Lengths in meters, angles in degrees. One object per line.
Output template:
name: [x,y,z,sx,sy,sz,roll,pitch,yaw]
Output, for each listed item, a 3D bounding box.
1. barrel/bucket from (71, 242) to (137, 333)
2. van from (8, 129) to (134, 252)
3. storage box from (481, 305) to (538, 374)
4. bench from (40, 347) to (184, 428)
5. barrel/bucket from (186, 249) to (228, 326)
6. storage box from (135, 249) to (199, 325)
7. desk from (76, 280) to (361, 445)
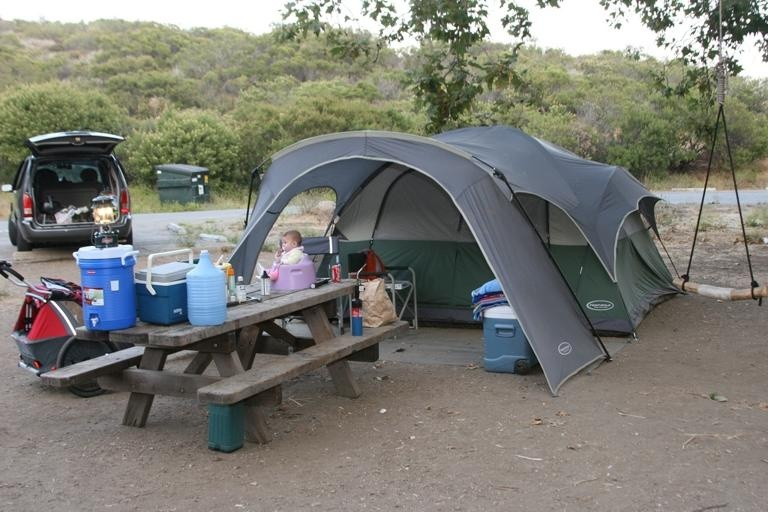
barrel/bucket: [-2.422,0.275,5.678,0.489,0.733,0.251,-5,8,-25]
van: [-6.975,-1.269,14.388,3.102,2.331,4.384,-2,13,-18]
storage box: [1.455,0.980,7.769,0.680,0.775,1.099,-2,3,19]
bench: [-2.629,1.027,6.163,1.134,0.279,0.524,-4,7,-27]
barrel/bucket: [-1.594,0.278,5.787,0.342,0.658,0.232,-3,8,-16]
storage box: [-1.985,0.316,6.008,0.494,0.695,0.718,1,0,22]
desk: [-1.706,0.895,6.406,1.595,0.910,2.106,0,3,25]
